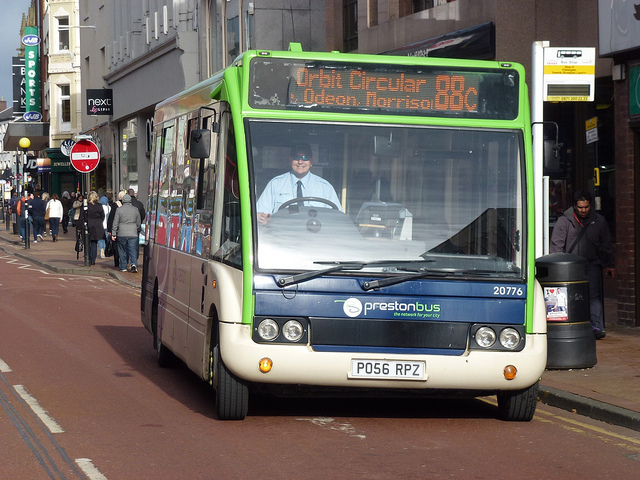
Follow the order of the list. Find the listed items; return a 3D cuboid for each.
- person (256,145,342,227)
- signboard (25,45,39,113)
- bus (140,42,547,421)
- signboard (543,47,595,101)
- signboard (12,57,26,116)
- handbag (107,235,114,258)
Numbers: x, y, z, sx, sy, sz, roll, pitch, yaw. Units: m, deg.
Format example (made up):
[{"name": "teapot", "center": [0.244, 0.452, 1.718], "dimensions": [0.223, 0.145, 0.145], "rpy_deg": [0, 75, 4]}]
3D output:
[{"name": "person", "center": [-0.191, -0.499, 6.997], "dimensions": [0.863, 0.972, 0.530], "rpy_deg": [1, 4, -5]}, {"name": "signboard", "center": [-25.155, -14.267, 67.896], "dimensions": [1.289, 7.437, 0.300], "rpy_deg": [-12, 29, -40]}, {"name": "bus", "center": [-0.093, 0.016, 8.721], "dimensions": [2.121, 2.717, 4.653], "rpy_deg": [1, -2, -11]}, {"name": "signboard", "center": [3.203, -2.142, 10.032], "dimensions": [0.531, 0.665, 0.205], "rpy_deg": [1, 2, 2]}, {"name": "signboard", "center": [-28.103, -14.489, 72.563], "dimensions": [0.991, 5.737, 4.665], "rpy_deg": [-1, 3, -22]}, {"name": "handbag", "center": [-6.757, 0.170, 24.999], "dimensions": [0.184, 0.672, 0.608], "rpy_deg": [2, -2, -8]}]
